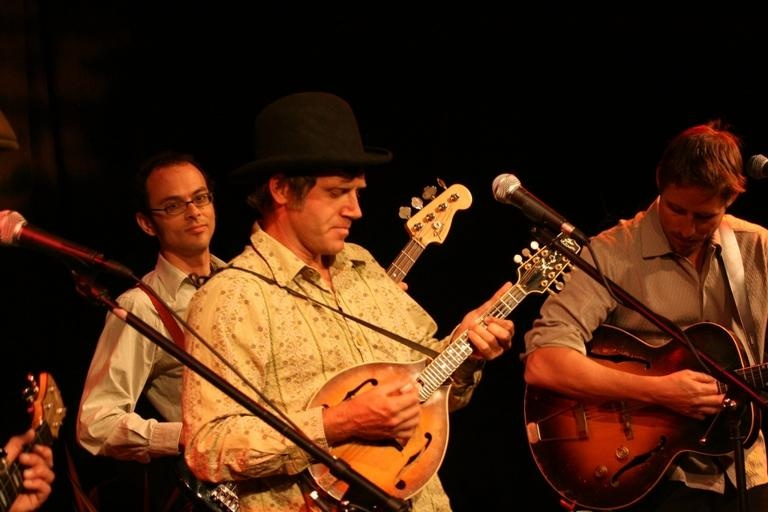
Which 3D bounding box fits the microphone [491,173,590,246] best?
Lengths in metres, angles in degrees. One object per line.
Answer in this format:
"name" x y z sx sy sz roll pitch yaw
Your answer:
"microphone" 1.023 -0.297 4.920 0.838 0.216 0.232 28 -19 19
